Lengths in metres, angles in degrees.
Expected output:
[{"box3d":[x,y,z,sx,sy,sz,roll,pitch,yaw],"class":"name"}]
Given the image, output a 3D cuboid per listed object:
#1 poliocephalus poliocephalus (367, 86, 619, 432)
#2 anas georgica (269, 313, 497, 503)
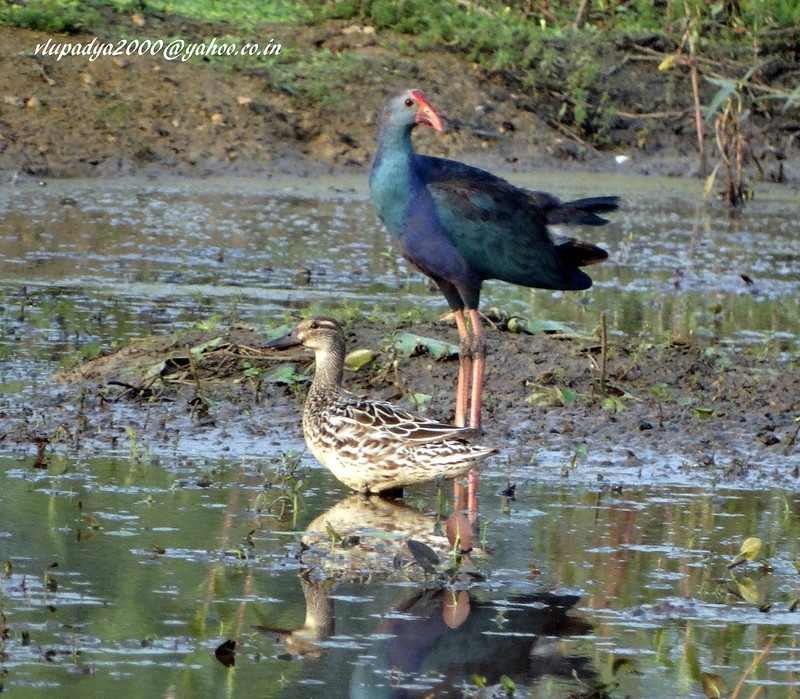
[{"box3d":[1.418,-0.808,8.835,1.778,2.158,3.240,7,13,15],"class":"poliocephalus poliocephalus"},{"box3d":[-0.047,0.350,7.569,1.527,0.913,0.607,5,12,29],"class":"anas georgica"}]
